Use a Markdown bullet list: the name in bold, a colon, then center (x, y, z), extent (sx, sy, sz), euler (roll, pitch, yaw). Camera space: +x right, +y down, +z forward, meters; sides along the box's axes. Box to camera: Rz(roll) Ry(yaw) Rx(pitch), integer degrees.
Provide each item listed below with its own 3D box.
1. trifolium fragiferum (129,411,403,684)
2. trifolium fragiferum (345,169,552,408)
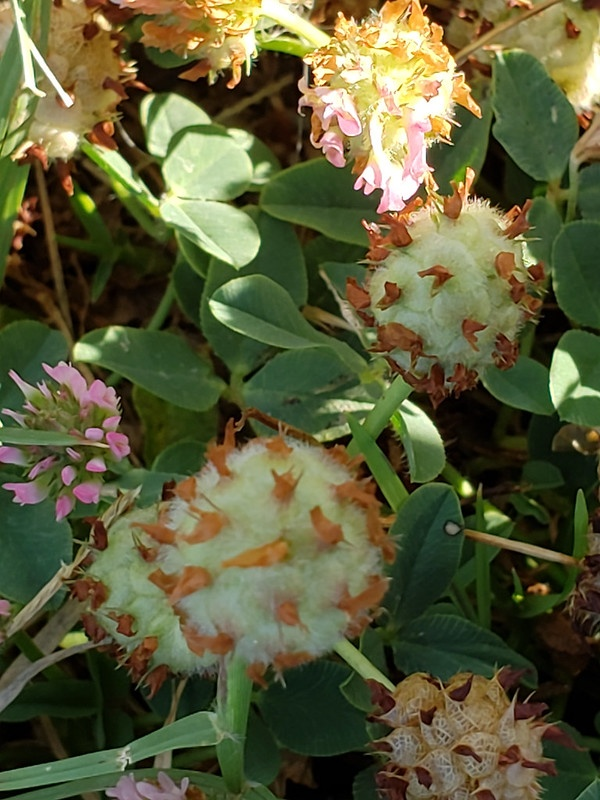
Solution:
- **trifolium fragiferum**: center (-0.030, 0.128, 0.716), extent (0.215, 0.196, 0.227), euler (-16, 54, -14)
- **trifolium fragiferum**: center (0.151, -0.113, 0.797), extent (0.190, 0.166, 0.183), euler (-16, 54, -14)
